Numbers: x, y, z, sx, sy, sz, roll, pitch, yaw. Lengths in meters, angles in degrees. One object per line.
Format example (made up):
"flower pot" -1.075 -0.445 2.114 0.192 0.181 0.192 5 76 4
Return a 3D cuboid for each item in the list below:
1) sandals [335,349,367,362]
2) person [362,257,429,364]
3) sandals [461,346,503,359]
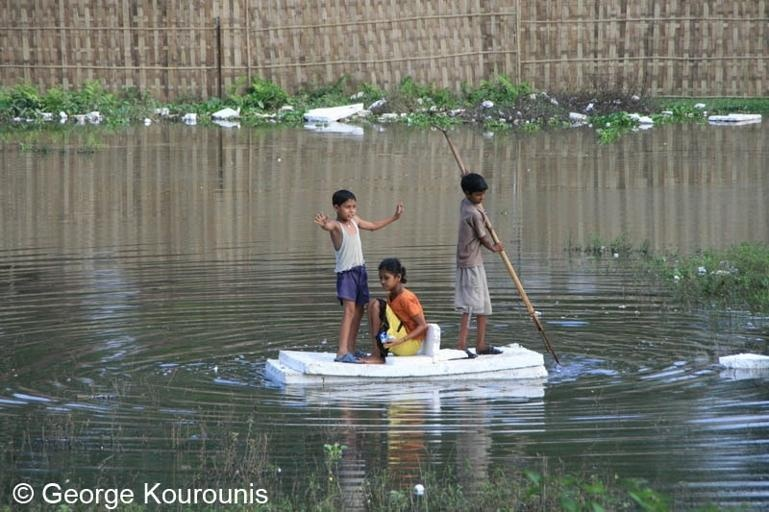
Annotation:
"sandals" -0.439 1.265 20.499 0.458 0.174 0.140 -5 14 -14
"person" 0.072 0.700 20.707 0.950 1.309 0.874 4 1 -18
"sandals" 1.242 1.200 20.631 0.489 0.125 0.178 -3 6 -14
